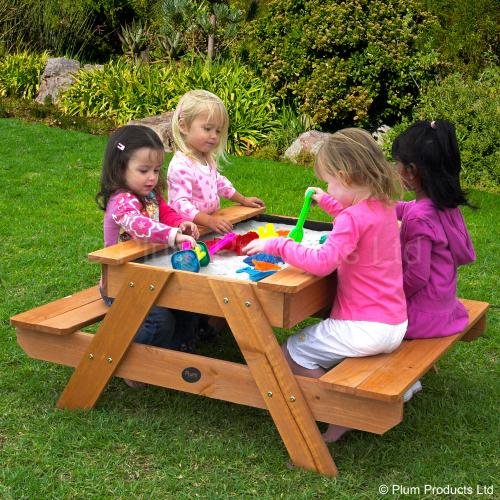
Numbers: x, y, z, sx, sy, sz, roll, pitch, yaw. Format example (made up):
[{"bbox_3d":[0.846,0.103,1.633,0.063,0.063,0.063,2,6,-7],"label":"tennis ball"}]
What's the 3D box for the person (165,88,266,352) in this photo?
[{"bbox_3d":[-0.270,-0.242,3.241,0.639,1.264,0.585,12,19,11],"label":"person"}]
